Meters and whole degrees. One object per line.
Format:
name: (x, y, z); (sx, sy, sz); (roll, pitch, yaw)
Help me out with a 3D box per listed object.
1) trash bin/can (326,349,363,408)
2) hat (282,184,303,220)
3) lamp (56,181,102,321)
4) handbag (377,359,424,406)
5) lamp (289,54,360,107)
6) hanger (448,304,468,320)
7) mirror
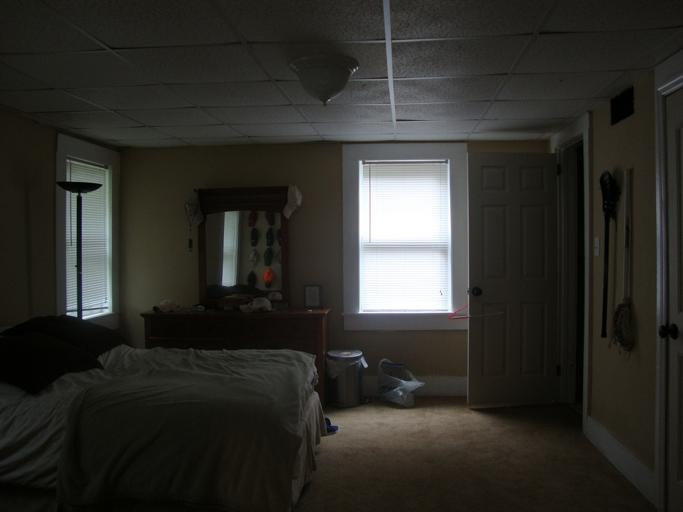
trash bin/can: (0.037, 1.276, 5.596); (0.408, 0.564, 0.452); (-1, 4, 22)
hat: (-0.523, -0.568, 5.805); (0.228, 0.358, 0.109); (-2, 8, -8)
lamp: (-2.470, 0.115, 5.095); (0.319, 1.286, 0.307); (28, 28, 32)
handbag: (0.632, 1.319, 5.613); (0.443, 0.355, 0.512); (-9, 21, -12)
lamp: (-0.121, -1.221, 3.842); (0.472, 0.291, 0.505); (-3, 1, -19)
hanger: (1.211, 0.601, 5.684); (0.222, 0.053, 0.128); (-4, 4, -25)
mirror: (-1.028, -0.073, 5.830); (1.239, 1.678, 0.059); (-1, -4, 1)
